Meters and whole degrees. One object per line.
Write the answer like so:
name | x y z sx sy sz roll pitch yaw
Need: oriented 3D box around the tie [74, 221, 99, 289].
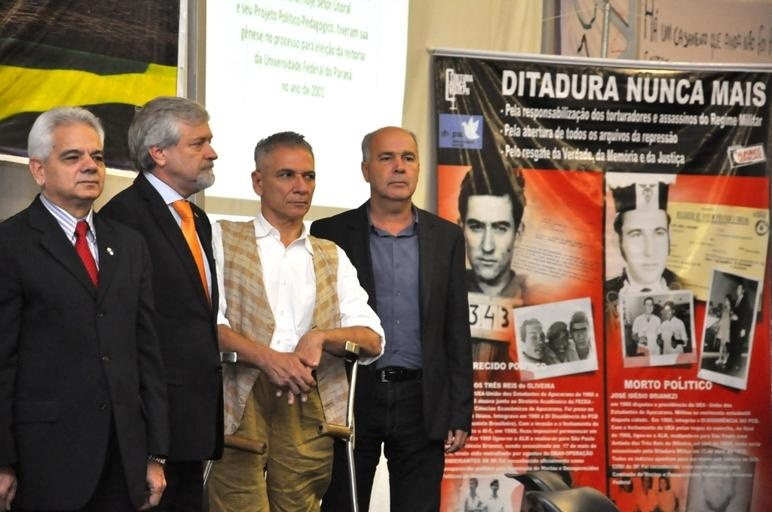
tie | -1.287 -0.028 3.571 0.077 0.349 0.049 -7 -31 -20

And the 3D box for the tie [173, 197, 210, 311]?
tie | -0.922 -0.055 3.940 0.117 0.619 0.075 -10 -17 -24

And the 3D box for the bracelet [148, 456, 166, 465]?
bracelet | -0.998 0.889 3.602 0.050 0.017 0.038 3 -19 17
